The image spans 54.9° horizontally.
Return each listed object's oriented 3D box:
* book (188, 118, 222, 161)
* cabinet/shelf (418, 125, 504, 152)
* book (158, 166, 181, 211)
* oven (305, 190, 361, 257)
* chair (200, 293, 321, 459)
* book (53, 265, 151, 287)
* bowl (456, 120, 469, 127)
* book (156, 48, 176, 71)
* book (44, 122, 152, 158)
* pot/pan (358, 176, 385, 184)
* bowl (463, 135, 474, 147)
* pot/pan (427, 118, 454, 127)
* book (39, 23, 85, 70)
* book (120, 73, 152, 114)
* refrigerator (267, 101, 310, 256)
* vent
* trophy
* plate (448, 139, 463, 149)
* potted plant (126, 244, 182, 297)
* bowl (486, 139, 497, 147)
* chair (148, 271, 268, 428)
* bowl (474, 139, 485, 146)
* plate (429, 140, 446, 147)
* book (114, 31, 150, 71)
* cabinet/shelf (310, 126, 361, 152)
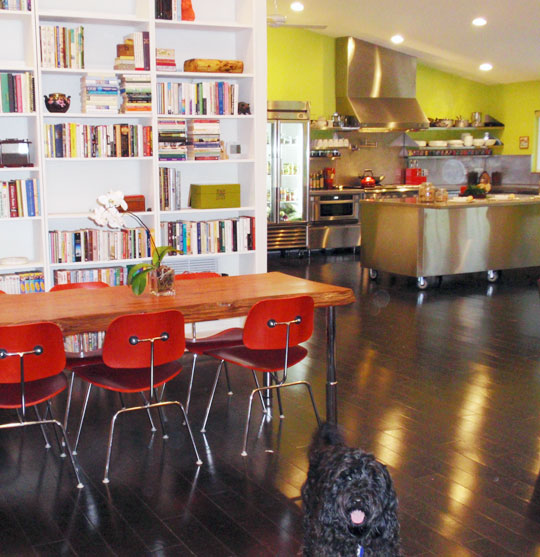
[{"bbox_3d":[-0.598,-1.287,4.794,0.340,0.388,0.160,-2,8,-9],"label":"book"},{"bbox_3d":[4.125,-3.092,11.384,3.116,0.540,0.470,-6,12,-25],"label":"cabinet/shelf"},{"bbox_3d":[-0.895,-0.806,4.662,0.214,0.379,0.080,-8,11,-40],"label":"book"},{"bbox_3d":[1.061,-1.116,10.113,1.615,1.453,1.075,-3,6,-21],"label":"oven"},{"bbox_3d":[0.004,0.466,2.902,0.576,0.847,0.591,-4,11,-28],"label":"chair"},{"bbox_3d":[-1.522,-0.029,4.444,0.750,0.194,0.281,-2,11,-24],"label":"book"},{"bbox_3d":[4.170,-3.372,11.263,0.229,0.185,0.112,1,3,12],"label":"bowl"},{"bbox_3d":[-0.919,-1.917,4.551,0.167,0.214,0.098,-2,8,-12],"label":"book"},{"bbox_3d":[-1.429,-1.154,4.347,0.853,0.295,0.155,-5,9,-30],"label":"book"},{"bbox_3d":[1.965,-1.986,10.315,0.322,0.135,0.384,-1,5,-32],"label":"pot/pan"},{"bbox_3d":[4.278,-3.024,11.370,0.211,0.238,0.255,-3,8,-7],"label":"bowl"},{"bbox_3d":[3.627,-3.301,11.010,0.421,0.144,0.370,-11,15,-42],"label":"pot/pan"},{"bbox_3d":[-1.645,-1.829,4.098,0.325,0.343,0.047,-5,9,-29],"label":"book"},{"bbox_3d":[-1.121,-1.561,4.377,0.413,0.279,0.375,1,25,-10],"label":"book"},{"bbox_3d":[0.290,-1.776,9.248,0.864,2.633,0.349,-5,9,-27],"label":"refrigerator"},{"bbox_3d":[2.175,-3.774,10.162,1.631,1.712,0.690,-4,9,-25],"label":"vent"},{"bbox_3d":[-1.510,-0.284,4.414,0.713,0.306,0.207,-4,14,-38],"label":"trophy"},{"bbox_3d":[4.012,-2.924,11.225,0.377,0.199,0.163,-5,9,-34],"label":"plate"},{"bbox_3d":[-0.637,-0.071,2.838,0.334,0.295,0.327,-6,11,-37],"label":"potted plant"},{"bbox_3d":[4.898,-2.991,11.448,0.175,0.095,0.165,0,5,0],"label":"bowl"},{"bbox_3d":[-0.395,0.370,3.240,0.575,0.870,0.598,-5,10,-27],"label":"chair"},{"bbox_3d":[4.635,-2.998,11.445,0.195,0.107,0.181,0,2,0],"label":"bowl"},{"bbox_3d":[3.594,-2.877,11.064,0.423,0.134,0.095,-3,8,-23],"label":"plate"},{"bbox_3d":[-1.162,-1.909,4.370,0.304,0.336,0.152,-2,8,-7],"label":"book"},{"bbox_3d":[1.310,-2.654,10.004,1.304,0.472,0.530,-3,8,-21],"label":"cabinet/shelf"}]
